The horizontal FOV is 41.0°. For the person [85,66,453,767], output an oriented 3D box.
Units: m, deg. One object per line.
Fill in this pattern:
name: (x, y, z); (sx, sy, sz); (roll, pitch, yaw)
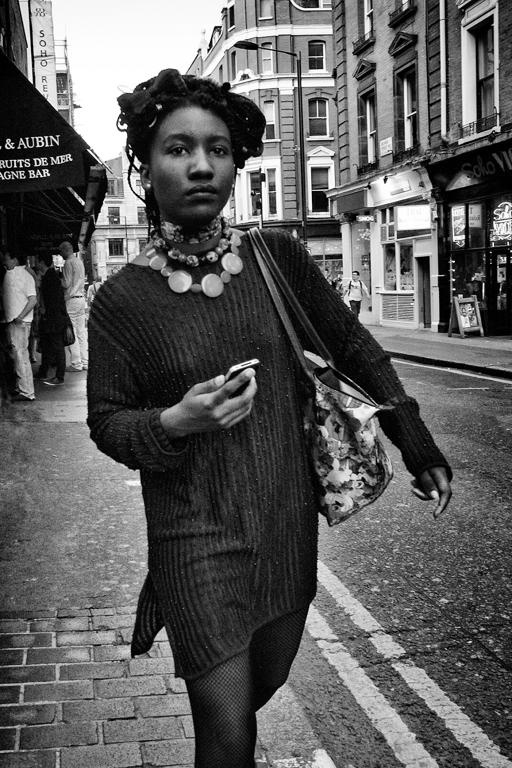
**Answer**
person: (-0.110, 0.026, 1.279); (0.418, 1.213, 0.467); (3, 4, 25)

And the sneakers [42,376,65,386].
sneakers: (-3.779, -0.026, 12.488); (0.495, 0.207, 0.194); (2, -5, -3)

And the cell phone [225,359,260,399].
cell phone: (-0.023, -0.008, 1.052); (0.048, 0.012, 0.083); (-31, -22, -27)

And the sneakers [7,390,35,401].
sneakers: (-3.630, 0.192, 10.536); (0.518, 0.222, 0.178); (-1, 10, 14)
